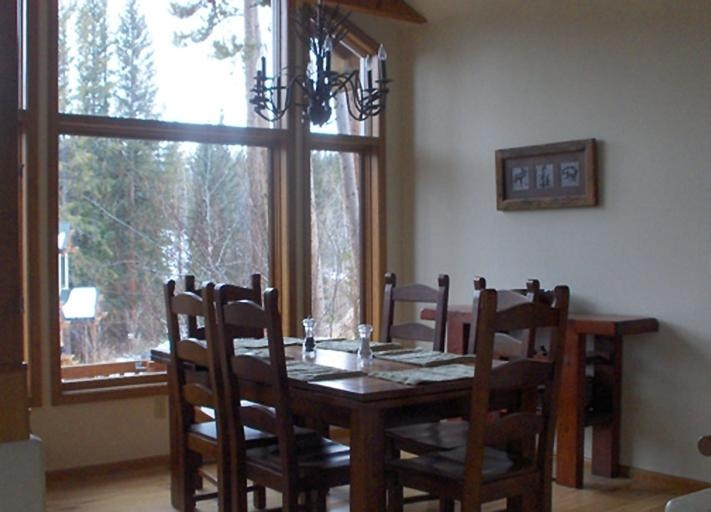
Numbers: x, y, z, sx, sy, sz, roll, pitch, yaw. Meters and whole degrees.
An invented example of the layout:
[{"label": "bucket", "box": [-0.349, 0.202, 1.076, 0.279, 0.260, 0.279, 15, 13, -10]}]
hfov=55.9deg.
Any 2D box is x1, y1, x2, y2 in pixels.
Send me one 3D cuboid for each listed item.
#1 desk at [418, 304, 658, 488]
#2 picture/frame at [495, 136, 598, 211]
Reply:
[{"label": "desk", "box": [1.352, 0.954, 4.742, 0.453, 1.046, 1.326, 5, -5, -31]}, {"label": "picture/frame", "box": [1.406, -0.598, 4.823, 0.568, 0.415, 0.045, -3, -3, 40]}]
